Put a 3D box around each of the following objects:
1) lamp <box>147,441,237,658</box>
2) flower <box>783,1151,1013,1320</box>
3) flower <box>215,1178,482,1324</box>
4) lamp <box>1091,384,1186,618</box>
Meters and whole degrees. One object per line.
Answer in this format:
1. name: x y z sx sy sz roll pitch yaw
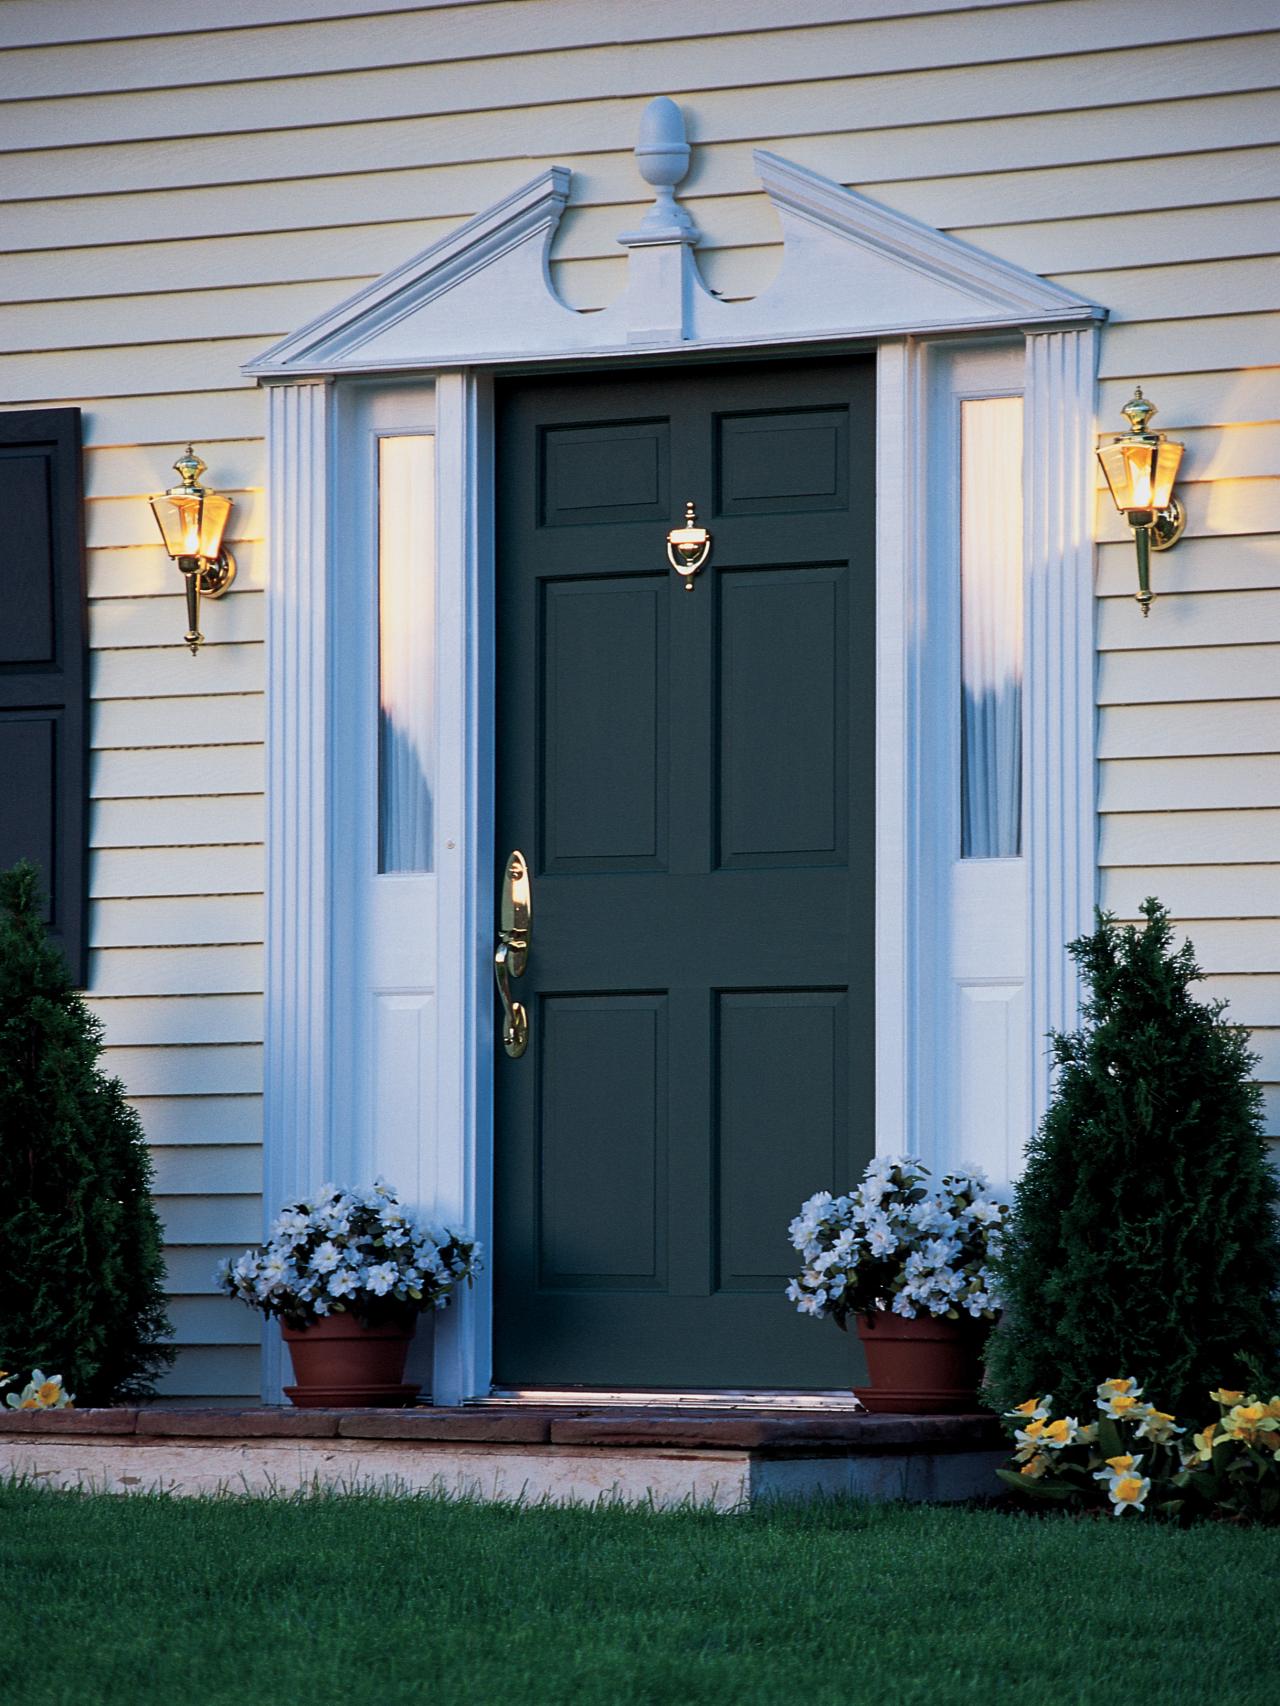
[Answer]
1. lamp: -0.903 -0.631 7.020 0.110 0.422 0.200 0 -5 18
2. flower: 0.476 0.715 6.293 0.399 0.296 0.313 1 -4 6
3. flower: -0.518 0.811 6.686 0.330 0.280 0.452 0 0 35
4. lamp: 0.921 -0.661 6.391 0.167 0.418 0.187 0 -5 16
